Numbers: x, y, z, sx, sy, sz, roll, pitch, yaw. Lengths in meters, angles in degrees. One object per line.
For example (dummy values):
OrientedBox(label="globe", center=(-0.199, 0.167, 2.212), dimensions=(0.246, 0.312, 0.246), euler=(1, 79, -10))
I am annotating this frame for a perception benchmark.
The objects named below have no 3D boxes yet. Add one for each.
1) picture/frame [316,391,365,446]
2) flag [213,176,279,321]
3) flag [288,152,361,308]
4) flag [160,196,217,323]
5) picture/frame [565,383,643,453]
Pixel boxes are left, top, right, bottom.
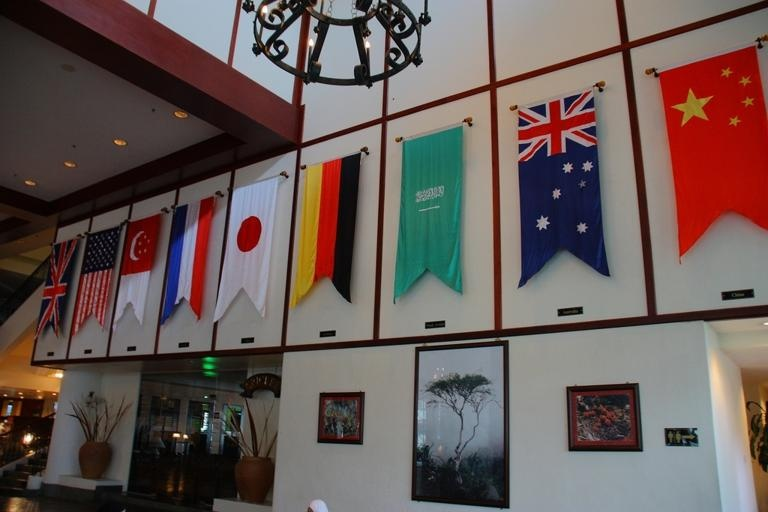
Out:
OrientedBox(label="picture/frame", center=(-0.794, 3.169, 10.196), dimensions=(0.964, 0.950, 0.081), euler=(-5, -18, 32))
OrientedBox(label="flag", center=(-3.069, -0.203, 12.140), dimensions=(1.581, 3.139, 0.514), euler=(-10, -24, 29))
OrientedBox(label="flag", center=(-1.162, -0.594, 11.189), dimensions=(1.592, 3.146, 0.510), euler=(-8, -24, 26))
OrientedBox(label="flag", center=(-4.792, 0.063, 12.981), dimensions=(1.489, 2.939, 0.507), euler=(-10, -24, 29))
OrientedBox(label="picture/frame", center=(3.503, 2.562, 8.223), dimensions=(0.999, 1.145, 0.077), euler=(-3, -14, 20))
